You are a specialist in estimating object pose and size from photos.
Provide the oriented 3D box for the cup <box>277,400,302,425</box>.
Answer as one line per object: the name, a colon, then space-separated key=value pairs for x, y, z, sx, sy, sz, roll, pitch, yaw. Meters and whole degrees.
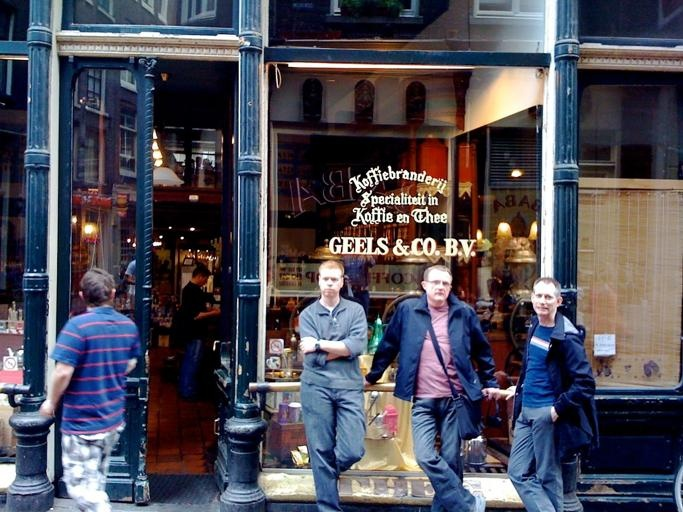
cup: x=-0.520 y=1.524 z=9.396 sx=0.198 sy=0.153 sz=0.207 roll=1 pitch=-1 yaw=0

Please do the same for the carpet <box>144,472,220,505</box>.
carpet: x=-1.559 y=2.287 z=9.418 sx=0.659 sy=0.146 sz=0.596 roll=1 pitch=-1 yaw=-9

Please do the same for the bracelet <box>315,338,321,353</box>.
bracelet: x=-0.220 y=0.790 z=8.527 sx=0.050 sy=0.087 sz=0.082 roll=2 pitch=13 yaw=-2

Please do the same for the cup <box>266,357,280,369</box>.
cup: x=-0.682 y=1.043 z=9.390 sx=0.138 sy=0.103 sz=0.088 roll=1 pitch=-2 yaw=-17
